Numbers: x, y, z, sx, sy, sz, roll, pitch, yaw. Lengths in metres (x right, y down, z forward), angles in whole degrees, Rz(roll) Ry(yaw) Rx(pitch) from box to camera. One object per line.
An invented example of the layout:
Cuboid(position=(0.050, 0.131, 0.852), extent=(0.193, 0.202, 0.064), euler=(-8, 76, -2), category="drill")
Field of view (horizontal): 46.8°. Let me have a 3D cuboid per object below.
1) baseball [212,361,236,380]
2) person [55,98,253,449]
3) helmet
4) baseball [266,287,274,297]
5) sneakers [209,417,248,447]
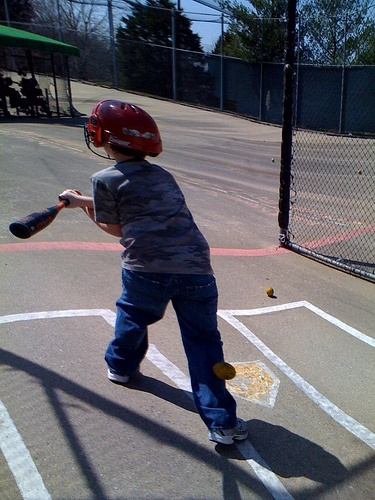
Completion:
Cuboid(position=(0.178, 0.578, 2.049), extent=(0.101, 0.099, 0.121), euler=(1, 17, 3), category="baseball")
Cuboid(position=(-0.090, 0.109, 2.087), extent=(0.859, 1.585, 0.392), euler=(15, 25, 38), category="person")
Cuboid(position=(-0.318, -0.612, 2.153), extent=(0.344, 0.245, 0.435), euler=(-12, 29, -37), category="helmet")
Cuboid(position=(0.787, 0.396, 4.078), extent=(0.080, 0.080, 0.072), euler=(15, -20, -19), category="baseball")
Cuboid(position=(0.217, 0.882, 2.127), extent=(0.240, 0.097, 0.088), euler=(1, 1, -29), category="sneakers")
